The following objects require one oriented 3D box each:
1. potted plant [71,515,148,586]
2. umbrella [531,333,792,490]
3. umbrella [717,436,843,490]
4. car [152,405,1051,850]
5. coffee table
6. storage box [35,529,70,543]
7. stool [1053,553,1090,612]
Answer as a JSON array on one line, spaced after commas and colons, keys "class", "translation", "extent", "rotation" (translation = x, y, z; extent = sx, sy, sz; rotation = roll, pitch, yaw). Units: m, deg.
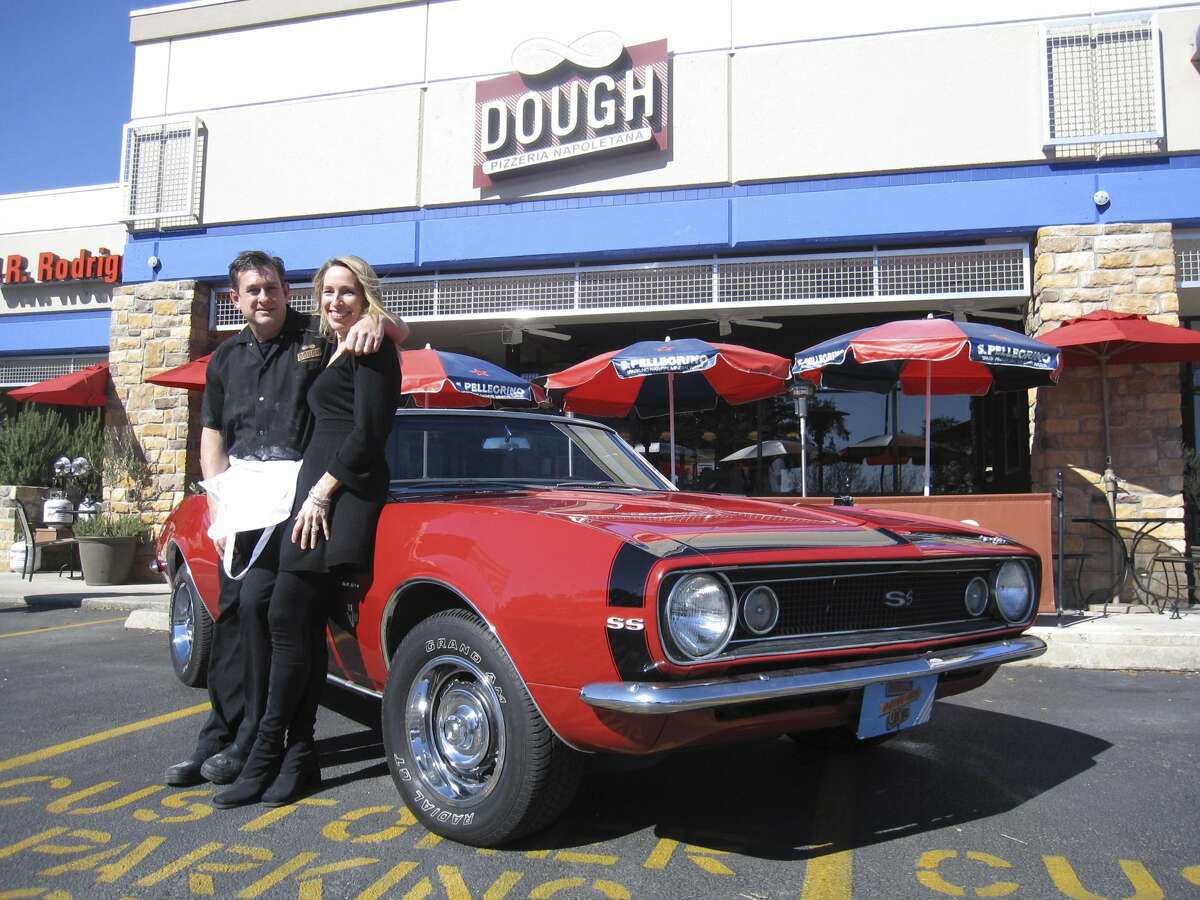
[{"class": "potted plant", "translation": [-6.339, 1.376, 12.668], "extent": [0.841, 0.774, 0.779], "rotation": [6, -6, -42]}, {"class": "umbrella", "translation": [0.861, -0.415, 10.947], "extent": [2.562, 1.450, 2.396], "rotation": [-10, 8, -22]}, {"class": "umbrella", "translation": [2.683, 0.204, 14.866], "extent": [1.135, 0.665, 1.105], "rotation": [11, -14, -41]}, {"class": "car", "translation": [-0.491, 0.745, 5.102], "extent": [2.157, 1.135, 3.780], "rotation": [2, -3, -40]}, {"class": "coffee table", "translation": [5.363, 1.240, 10.262], "extent": [1.248, 0.825, 1.284], "rotation": [-4, -6, 40]}, {"class": "storage box", "translation": [-7.609, 1.187, 13.602], "extent": [0.284, 0.161, 0.296], "rotation": [-4, -4, 35]}, {"class": "stool", "translation": [4.650, 1.294, 9.600], "extent": [0.249, 0.678, 1.893], "rotation": [2, 4, 27]}]
